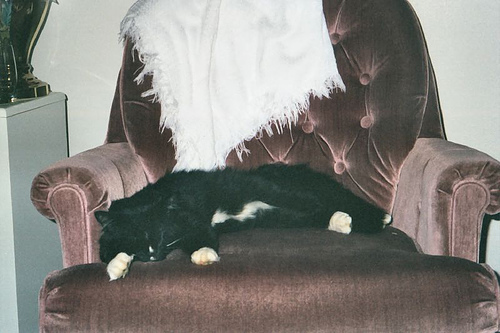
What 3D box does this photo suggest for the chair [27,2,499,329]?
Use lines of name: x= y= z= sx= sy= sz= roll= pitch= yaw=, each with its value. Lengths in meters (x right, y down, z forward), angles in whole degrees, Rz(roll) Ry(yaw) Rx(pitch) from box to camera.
chair: x=0.054 y=0.156 z=3.523 sx=1.927 sy=2.056 sz=1.538 roll=0 pitch=2 yaw=-1
